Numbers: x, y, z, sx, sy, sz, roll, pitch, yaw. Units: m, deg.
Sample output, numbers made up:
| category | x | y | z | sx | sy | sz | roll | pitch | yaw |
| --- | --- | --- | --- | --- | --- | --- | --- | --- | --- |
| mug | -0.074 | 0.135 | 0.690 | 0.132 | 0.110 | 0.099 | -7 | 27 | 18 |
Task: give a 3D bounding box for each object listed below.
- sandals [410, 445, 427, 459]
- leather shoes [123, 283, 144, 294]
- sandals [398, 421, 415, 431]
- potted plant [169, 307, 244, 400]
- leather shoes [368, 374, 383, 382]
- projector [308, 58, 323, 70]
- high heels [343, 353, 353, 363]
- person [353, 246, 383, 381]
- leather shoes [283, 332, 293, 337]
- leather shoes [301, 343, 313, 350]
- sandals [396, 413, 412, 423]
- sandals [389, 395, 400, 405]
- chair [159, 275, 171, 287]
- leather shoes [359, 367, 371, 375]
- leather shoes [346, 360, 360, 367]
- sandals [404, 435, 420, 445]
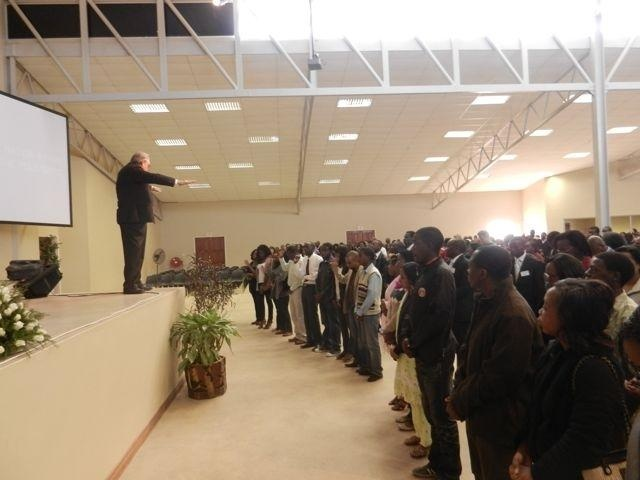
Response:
| category | x | y | z | sx | sy | sz | roll | pitch | yaw |
| --- | --- | --- | --- | --- | --- | --- | --- | --- | --- |
| sandals | 0.850 | 1.813 | 3.760 | 0.136 | 0.148 | 0.071 | 2 | -9 | 9 |
| leather shoes | -2.163 | 0.566 | 5.151 | 0.259 | 0.122 | 0.095 | -1 | 6 | -17 |
| sandals | 0.832 | 1.769 | 4.201 | 0.153 | 0.068 | 0.055 | 11 | 2 | -5 |
| potted plant | -1.394 | 1.323 | 5.466 | 0.872 | 1.134 | 0.888 | 0 | -1 | -12 |
| leather shoes | 0.689 | 1.691 | 5.396 | 0.173 | 0.081 | 0.073 | 2 | -4 | -14 |
| projector | -0.086 | -3.307 | 8.246 | 0.219 | 0.303 | 0.263 | -3 | 2 | -1 |
| high heels | 0.415 | 1.709 | 6.314 | 0.167 | 0.078 | 0.058 | -5 | -6 | 34 |
| person | 0.615 | 0.919 | 5.471 | 0.330 | 1.650 | 0.551 | -2 | 2 | 4 |
| leather shoes | -0.598 | 1.753 | 8.199 | 0.143 | 0.063 | 0.058 | 5 | -8 | -19 |
| leather shoes | -0.240 | 1.737 | 7.222 | 0.201 | 0.072 | 0.175 | -2 | 2 | 30 |
| sandals | 0.838 | 1.738 | 4.305 | 0.171 | 0.076 | 0.062 | 0 | -4 | 5 |
| sandals | 0.805 | 1.715 | 4.702 | 0.154 | 0.122 | 0.055 | 0 | -3 | 9 |
| chair | -6.321 | 1.680 | 17.912 | 0.444 | 0.493 | 0.482 | -10 | -6 | 42 |
| leather shoes | 0.585 | 1.693 | 5.673 | 0.120 | 0.091 | 0.063 | -4 | 0 | 16 |
| leather shoes | 0.465 | 1.696 | 6.047 | 0.191 | 0.151 | 0.072 | 1 | -9 | 10 |
| sandals | 0.842 | 1.785 | 3.966 | 0.121 | 0.132 | 0.066 | -2 | -9 | 24 |
